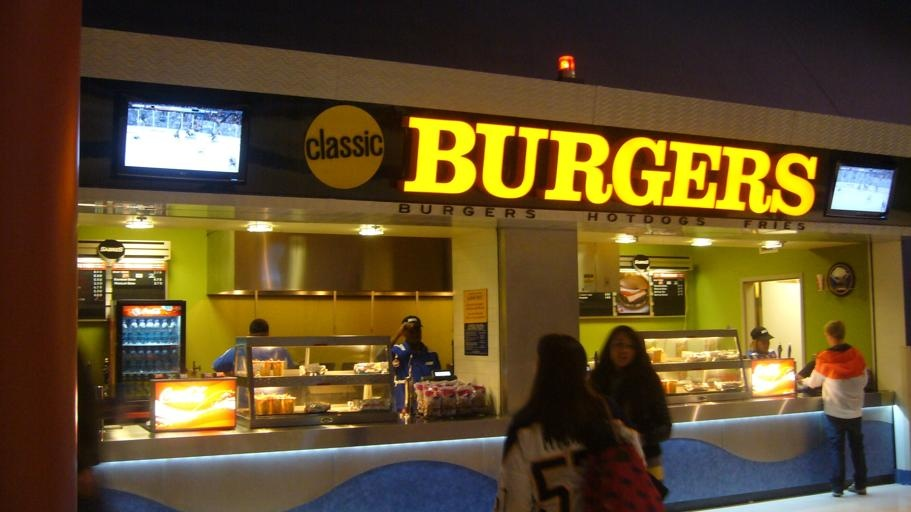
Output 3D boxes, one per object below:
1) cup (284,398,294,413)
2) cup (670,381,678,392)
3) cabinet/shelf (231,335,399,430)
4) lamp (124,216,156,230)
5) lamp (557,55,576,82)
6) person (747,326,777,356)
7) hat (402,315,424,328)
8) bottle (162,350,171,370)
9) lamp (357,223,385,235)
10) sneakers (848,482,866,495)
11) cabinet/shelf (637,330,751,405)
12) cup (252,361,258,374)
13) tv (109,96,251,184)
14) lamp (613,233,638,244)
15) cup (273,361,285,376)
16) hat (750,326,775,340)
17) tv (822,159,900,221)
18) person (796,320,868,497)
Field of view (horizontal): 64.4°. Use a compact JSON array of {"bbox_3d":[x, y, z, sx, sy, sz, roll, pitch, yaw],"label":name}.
[{"bbox_3d":[-1.560,1.407,6.813,0.130,0.115,0.122,0,-8,0],"label":"cup"},{"bbox_3d":[2.480,1.481,8.242,0.118,0.113,0.118,0,-6,0],"label":"cup"},{"bbox_3d":[-1.364,1.189,7.066,1.490,0.689,0.528,-2,-1,-17],"label":"cabinet/shelf"},{"bbox_3d":[-3.095,-0.338,7.187,0.243,0.050,0.239,-3,-5,30],"label":"lamp"},{"bbox_3d":[1.260,-2.120,8.178,0.197,0.263,0.222,-2,-1,8],"label":"lamp"},{"bbox_3d":[4.166,1.175,9.840,0.296,0.401,0.770,-3,-1,25],"label":"person"},{"bbox_3d":[-0.477,0.742,8.369,0.188,0.144,0.262,5,-19,-12],"label":"hat"},{"bbox_3d":[-3.603,1.302,9.077,0.083,0.276,0.080,6,4,0],"label":"bottle"},{"bbox_3d":[-0.891,-0.296,7.710,0.277,0.087,0.308,-2,-1,-6],"label":"lamp"},{"bbox_3d":[4.819,2.786,8.662,0.094,0.087,0.218,-2,2,-9],"label":"sneakers"},{"bbox_3d":[2.609,1.234,7.967,1.041,0.582,0.546,-2,-24,-17],"label":"cabinet/shelf"},{"bbox_3d":[-1.865,1.045,6.799,0.062,0.110,0.057,-2,-1,0],"label":"cup"},{"bbox_3d":[-2.584,-1.073,6.638,0.953,0.515,0.088,1,-5,-14],"label":"tv"},{"bbox_3d":[2.075,-0.228,8.750,0.279,0.107,0.503,-2,-1,12],"label":"lamp"},{"bbox_3d":[-1.676,1.075,6.936,0.131,0.088,0.116,-3,-5,11],"label":"cup"},{"bbox_3d":[4.167,1.049,9.827,0.422,0.196,0.301,-5,-4,37],"label":"hat"},{"bbox_3d":[4.962,-0.807,8.835,1.076,0.746,0.134,-2,-1,-23],"label":"tv"},{"bbox_3d":[4.596,1.818,8.643,0.613,2.194,0.354,-3,-1,20],"label":"person"}]
